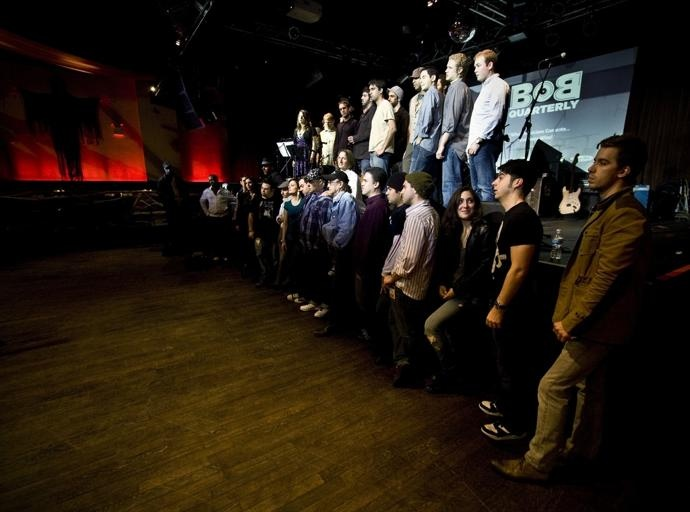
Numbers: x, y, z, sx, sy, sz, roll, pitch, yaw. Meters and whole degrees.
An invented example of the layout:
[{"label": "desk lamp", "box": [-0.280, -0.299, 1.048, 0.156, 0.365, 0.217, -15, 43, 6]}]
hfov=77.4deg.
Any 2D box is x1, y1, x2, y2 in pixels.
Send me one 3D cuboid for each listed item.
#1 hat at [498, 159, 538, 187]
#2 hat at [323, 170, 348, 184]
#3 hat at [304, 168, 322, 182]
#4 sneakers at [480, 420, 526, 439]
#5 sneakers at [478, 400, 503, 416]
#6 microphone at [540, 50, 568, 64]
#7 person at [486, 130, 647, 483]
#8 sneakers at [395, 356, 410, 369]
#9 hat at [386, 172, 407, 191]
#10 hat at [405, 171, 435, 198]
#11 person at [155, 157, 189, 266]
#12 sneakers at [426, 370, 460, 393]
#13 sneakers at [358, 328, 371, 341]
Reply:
[{"label": "hat", "box": [1.684, -0.824, 4.157, 0.321, 0.296, 0.249, 24, 27, 31]}, {"label": "hat", "box": [-0.130, -1.061, 5.751, 0.293, 0.148, 0.178, 5, 19, 8]}, {"label": "hat", "box": [-0.474, -1.228, 6.553, 0.215, 0.175, 0.346, -5, 13, -23]}, {"label": "sneakers", "box": [1.459, 1.662, 4.067, 0.429, 0.155, 0.162, 4, -3, 0]}, {"label": "sneakers", "box": [1.454, 1.531, 4.291, 0.093, 0.095, 0.248, -10, 1, -12]}, {"label": "microphone", "box": [4.177, -3.965, 8.669, 0.219, 0.297, 0.806, 21, 27, 32]}, {"label": "person", "box": [2.049, 0.485, 3.645, 0.656, 2.940, 1.065, 14, 19, 42]}, {"label": "sneakers", "box": [0.630, 1.181, 4.715, 0.158, 0.112, 0.106, 3, 13, 8]}, {"label": "hat", "box": [0.576, -0.852, 4.931, 0.225, 0.163, 0.193, -12, 19, -7]}, {"label": "hat", "box": [0.809, -0.753, 4.679, 0.305, 0.226, 0.257, 40, 20, 13]}, {"label": "person", "box": [-4.066, -1.087, 10.223, 0.613, 2.143, 0.710, -4, 15, -19]}, {"label": "sneakers", "box": [1.145, 1.382, 4.682, 0.482, 0.196, 0.164, 7, -5, -22]}, {"label": "sneakers", "box": [0.253, 1.036, 5.614, 0.058, 0.067, 0.224, 40, -7, -7]}]
